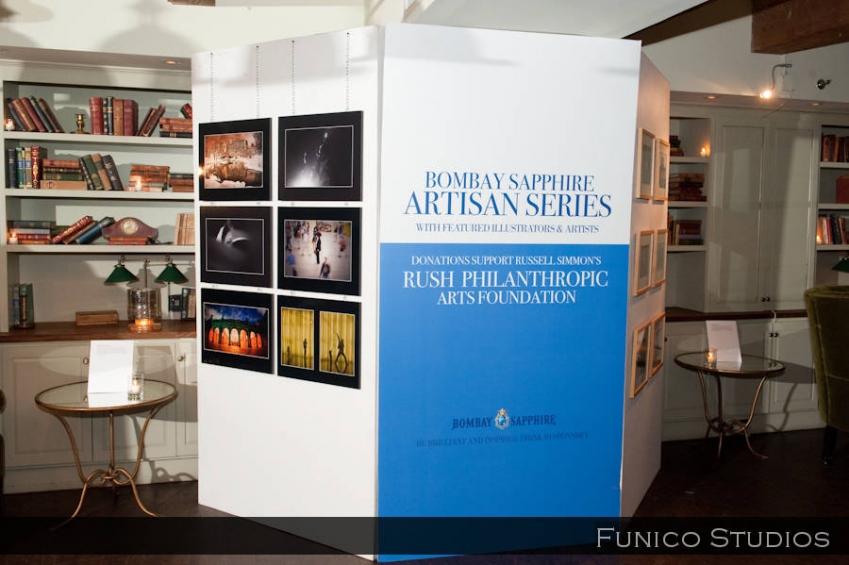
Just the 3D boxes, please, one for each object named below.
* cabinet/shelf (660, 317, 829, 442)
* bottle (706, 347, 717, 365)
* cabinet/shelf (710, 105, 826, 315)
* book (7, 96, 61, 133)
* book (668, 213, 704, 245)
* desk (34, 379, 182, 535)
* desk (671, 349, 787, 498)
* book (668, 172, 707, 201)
[{"bbox_3d":[3.415,1.028,7.155,1.555,1.056,0.539,-1,1,-14],"label":"cabinet/shelf"},{"bbox_3d":[2.953,0.763,6.758,0.122,0.193,0.123,3,-5,0],"label":"bottle"},{"bbox_3d":[3.812,-0.798,7.412,1.408,2.148,0.386,-2,13,-11],"label":"cabinet/shelf"},{"bbox_3d":[-3.826,-1.641,6.471,0.473,0.330,0.249,-4,14,-18],"label":"book"},{"bbox_3d":[2.916,-0.544,7.405,0.461,0.419,0.325,0,1,-13],"label":"book"},{"bbox_3d":[-2.824,1.561,5.963,1.166,0.984,1.155,3,-7,-41],"label":"desk"},{"bbox_3d":[3.243,1.310,6.934,1.256,1.026,1.174,-3,16,-8],"label":"desk"},{"bbox_3d":[2.923,-1.032,7.405,0.540,0.370,0.289,-1,3,-9],"label":"book"}]
